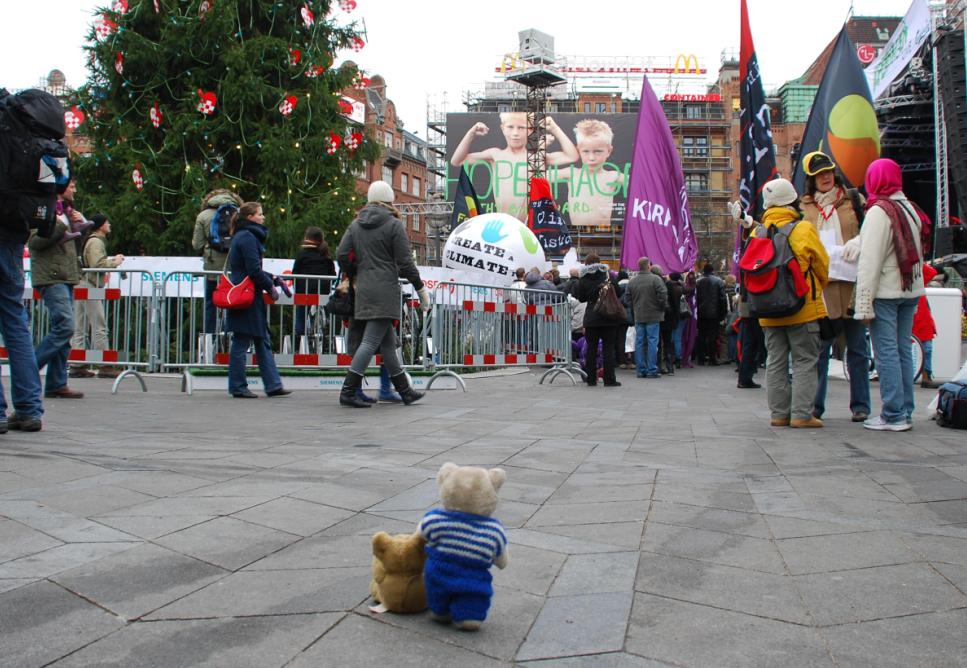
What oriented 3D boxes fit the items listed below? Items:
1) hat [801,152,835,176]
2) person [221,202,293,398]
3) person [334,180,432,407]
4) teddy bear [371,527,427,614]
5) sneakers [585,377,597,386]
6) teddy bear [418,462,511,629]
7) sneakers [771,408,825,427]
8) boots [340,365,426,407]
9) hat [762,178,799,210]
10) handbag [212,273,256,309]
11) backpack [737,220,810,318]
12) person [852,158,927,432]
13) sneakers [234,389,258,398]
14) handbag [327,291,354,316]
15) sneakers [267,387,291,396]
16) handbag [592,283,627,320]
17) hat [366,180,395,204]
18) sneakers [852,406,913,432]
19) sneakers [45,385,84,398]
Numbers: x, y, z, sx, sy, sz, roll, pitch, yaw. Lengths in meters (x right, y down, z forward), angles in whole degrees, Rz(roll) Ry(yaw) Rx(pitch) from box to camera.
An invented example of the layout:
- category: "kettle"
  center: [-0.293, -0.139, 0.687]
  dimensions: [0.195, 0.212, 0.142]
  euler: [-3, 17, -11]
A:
- category: "hat"
  center: [3.296, -1.694, 8.095]
  dimensions: [0.264, 0.261, 0.346]
  euler: [3, 6, 26]
- category: "person"
  center: [-2.721, -0.385, 9.730]
  dimensions: [0.670, 2.341, 0.795]
  euler: [0, 5, -7]
- category: "person"
  center: [-1.159, -0.440, 9.098]
  dimensions: [0.916, 2.492, 0.549]
  euler: [-1, 5, -13]
- category: "teddy bear"
  center: [-0.367, 1.053, 3.740]
  dimensions: [0.316, 0.379, 0.286]
  euler: [1, 4, 19]
- category: "sneakers"
  center: [1.651, 0.719, 12.524]
  dimensions: [0.137, 0.130, 0.220]
  euler: [1, 5, 1]
- category: "teddy bear"
  center: [-0.095, 0.927, 3.613]
  dimensions: [0.389, 0.685, 0.254]
  euler: [0, 5, -5]
- category: "sneakers"
  center: [2.971, 0.792, 7.760]
  dimensions: [0.433, 0.194, 0.174]
  euler: [0, -1, -6]
- category: "boots"
  center: [-1.223, 0.584, 9.332]
  dimensions: [1.222, 0.573, 0.340]
  euler: [-3, 3, -22]
- category: "hat"
  center: [2.836, -1.348, 7.853]
  dimensions: [0.305, 0.256, 0.257]
  euler: [6, 7, 15]
- category: "handbag"
  center: [-2.848, -0.501, 9.393]
  dimensions: [0.375, 0.399, 0.180]
  euler: [-2, -15, 11]
- category: "backpack"
  center: [2.705, -0.623, 7.623]
  dimensions: [0.610, 0.854, 0.271]
  euler: [2, 6, 20]
- category: "person"
  center: [3.739, -0.379, 7.576]
  dimensions: [0.534, 2.484, 0.741]
  euler: [3, 6, 28]
- category: "sneakers"
  center: [-2.867, 0.708, 9.874]
  dimensions: [0.253, 0.107, 0.100]
  euler: [-1, 2, -9]
- category: "handbag"
  center: [-1.594, -0.347, 9.186]
  dimensions: [0.294, 0.311, 0.227]
  euler: [4, -3, 6]
- category: "sneakers"
  center: [-2.506, 0.709, 10.059]
  dimensions: [0.275, 0.135, 0.096]
  euler: [-7, 9, -5]
- category: "handbag"
  center: [1.841, -0.478, 12.127]
  dimensions: [0.450, 0.549, 0.307]
  euler: [1, 5, 4]
- category: "hat"
  center: [-1.159, -1.591, 9.152]
  dimensions: [0.329, 0.326, 0.268]
  euler: [-5, 23, -6]
- category: "sneakers"
  center: [3.670, 0.779, 7.579]
  dimensions: [0.450, 0.192, 0.168]
  euler: [3, 0, 45]
- category: "sneakers"
  center: [-4.667, 0.627, 9.137]
  dimensions: [0.434, 0.208, 0.149]
  euler: [1, 0, -17]
